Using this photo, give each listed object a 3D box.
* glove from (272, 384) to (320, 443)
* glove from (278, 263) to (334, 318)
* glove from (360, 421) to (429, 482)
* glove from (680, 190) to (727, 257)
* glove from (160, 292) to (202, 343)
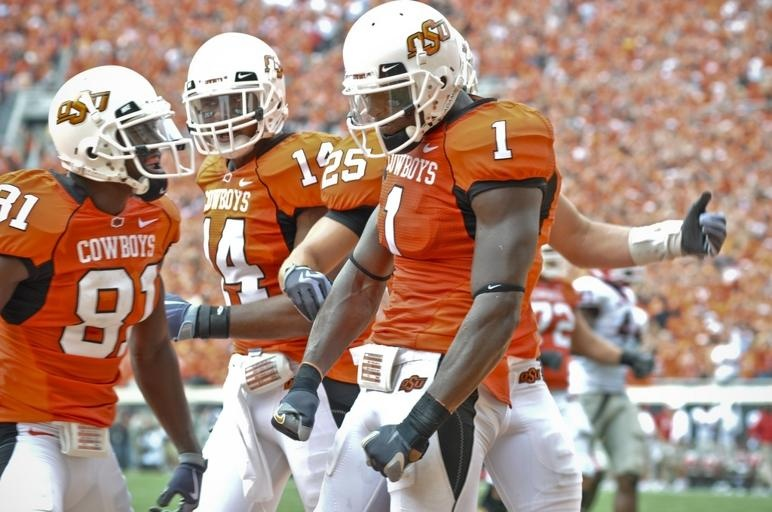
[{"bbox_3d":[-0.366,0.675,4.219,0.211,0.093,0.291,16,35,8],"label":"glove"},{"bbox_3d":[-0.384,0.168,4.538,0.250,0.255,0.119,0,-7,34],"label":"glove"},{"bbox_3d":[0.051,0.773,3.946,0.201,0.277,0.135,47,-10,16],"label":"glove"},{"bbox_3d":[1.467,-0.148,4.433,0.204,0.293,0.174,5,-6,-5],"label":"glove"},{"bbox_3d":[-1.043,0.311,4.878,0.169,0.232,0.260,6,-6,-12],"label":"glove"}]
